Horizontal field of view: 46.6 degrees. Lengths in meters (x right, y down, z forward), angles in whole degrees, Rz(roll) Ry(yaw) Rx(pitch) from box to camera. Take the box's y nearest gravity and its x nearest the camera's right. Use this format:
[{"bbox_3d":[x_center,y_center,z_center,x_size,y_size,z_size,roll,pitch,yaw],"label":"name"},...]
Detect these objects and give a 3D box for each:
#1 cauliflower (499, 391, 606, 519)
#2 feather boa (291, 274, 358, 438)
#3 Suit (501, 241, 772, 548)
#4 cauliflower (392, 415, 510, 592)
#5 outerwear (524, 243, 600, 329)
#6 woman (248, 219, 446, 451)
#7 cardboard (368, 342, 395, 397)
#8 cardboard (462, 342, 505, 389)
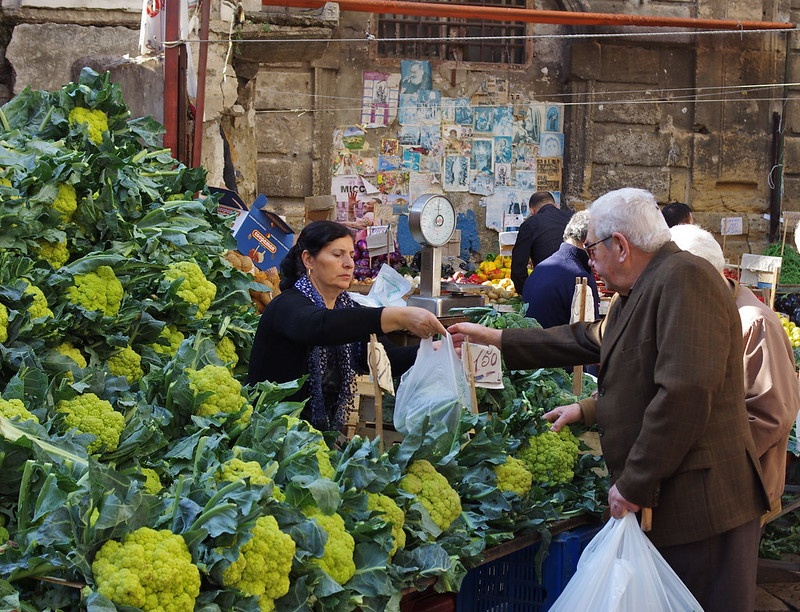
[{"bbox_3d":[0.708,0.665,4.186,0.390,0.332,0.516,5,9,41],"label":"cauliflower"},{"bbox_3d":[-0.317,0.241,4.291,0.193,0.630,0.428,4,3,31],"label":"feather boa"},{"bbox_3d":[0.917,0.406,4.223,1.009,1.431,0.915,-2,-5,1],"label":"Suit"},{"bbox_3d":[0.221,0.792,3.710,0.228,0.596,0.488,-22,-46,33],"label":"cauliflower"},{"bbox_3d":[0.986,-0.114,5.647,0.282,0.538,0.511,2,7,-38],"label":"outerwear"},{"bbox_3d":[-0.263,0.330,4.242,0.760,1.342,0.562,9,16,18],"label":"woman"},{"bbox_3d":[-0.093,0.294,4.231,0.061,0.274,0.239,-12,-5,17],"label":"cardboard"},{"bbox_3d":[0.369,0.270,4.216,0.190,0.214,0.028,0,0,-12],"label":"cardboard"}]
